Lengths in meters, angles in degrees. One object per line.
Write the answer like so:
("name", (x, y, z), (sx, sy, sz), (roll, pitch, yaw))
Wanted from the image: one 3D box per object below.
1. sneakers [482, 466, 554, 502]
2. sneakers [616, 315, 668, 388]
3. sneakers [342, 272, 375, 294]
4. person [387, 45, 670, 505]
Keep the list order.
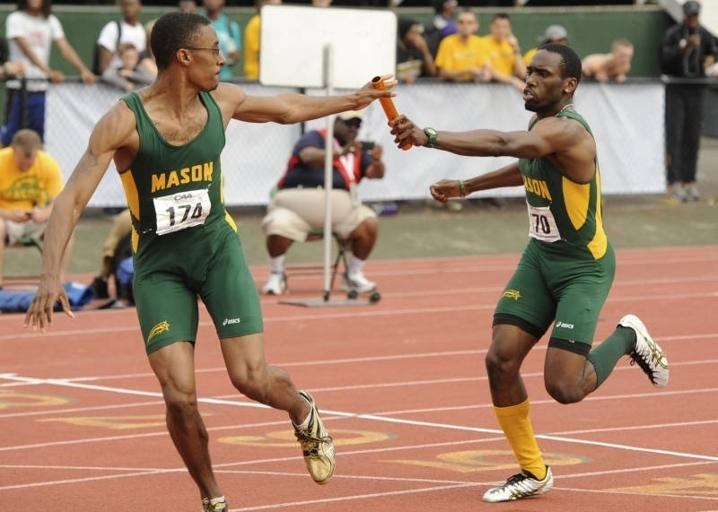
("sneakers", (0.931, 1.357, 5.609), (0.504, 0.191, 0.164), (-6, 5, -13))
("sneakers", (2.067, 0.730, 6.840), (0.203, 0.564, 0.256), (-32, 9, 46))
("sneakers", (0.034, 0.278, 9.818), (0.374, 0.244, 0.169), (2, 6, 12))
("person", (1.068, 0.023, 5.865), (1.008, 2.656, 1.572), (14, 20, 42))
